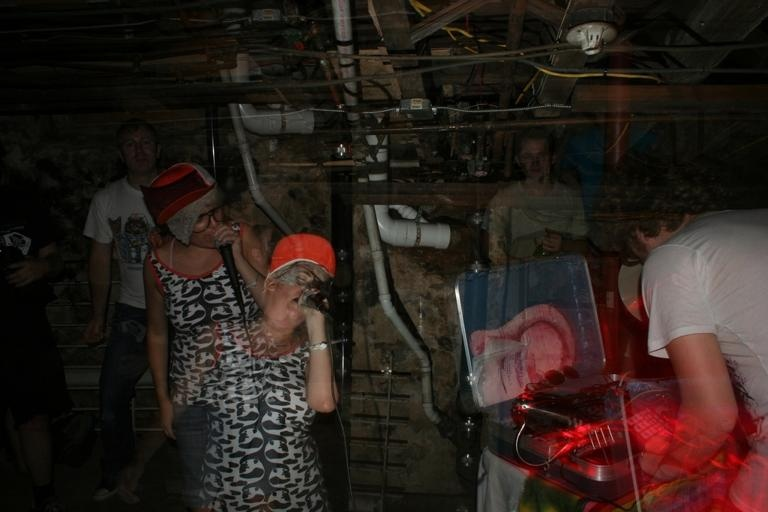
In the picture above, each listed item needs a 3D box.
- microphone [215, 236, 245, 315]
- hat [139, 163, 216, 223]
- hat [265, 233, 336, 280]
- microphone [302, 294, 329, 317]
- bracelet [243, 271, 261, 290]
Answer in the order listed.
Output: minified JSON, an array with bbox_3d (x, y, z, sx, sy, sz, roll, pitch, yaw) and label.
[{"bbox_3d":[-0.681,0.106,2.759,0.100,0.330,0.025,-3,7,-17],"label":"microphone"},{"bbox_3d":[-0.909,-0.266,2.706,0.222,0.164,0.307,-37,8,-25],"label":"hat"},{"bbox_3d":[-0.356,0.002,2.743,0.268,0.180,0.178,-1,8,9],"label":"hat"},{"bbox_3d":[-0.300,0.207,2.748,0.119,0.049,0.076,36,0,-16],"label":"microphone"},{"bbox_3d":[-0.592,0.108,2.759,0.069,0.058,0.063,1,-6,11],"label":"bracelet"}]
